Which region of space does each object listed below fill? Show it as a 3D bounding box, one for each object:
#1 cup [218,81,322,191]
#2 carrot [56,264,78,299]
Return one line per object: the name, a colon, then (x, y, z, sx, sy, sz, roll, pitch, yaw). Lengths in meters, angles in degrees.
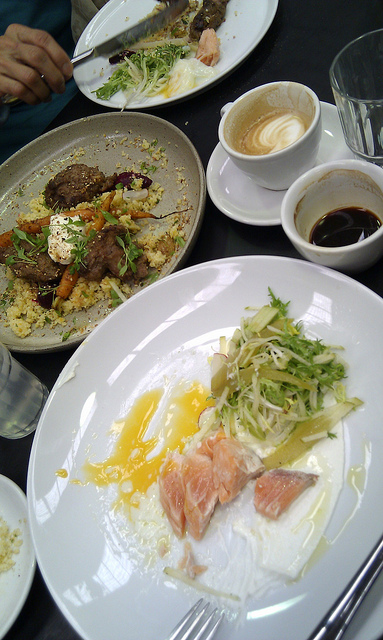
cup: (0.181, -0.446, 1.211, 0.225, 0.201, 0.256, -6, 59, 7)
carrot: (-0.362, -0.123, 1.483, 0.034, 0.034, 0.118, 22, 58, 1)
